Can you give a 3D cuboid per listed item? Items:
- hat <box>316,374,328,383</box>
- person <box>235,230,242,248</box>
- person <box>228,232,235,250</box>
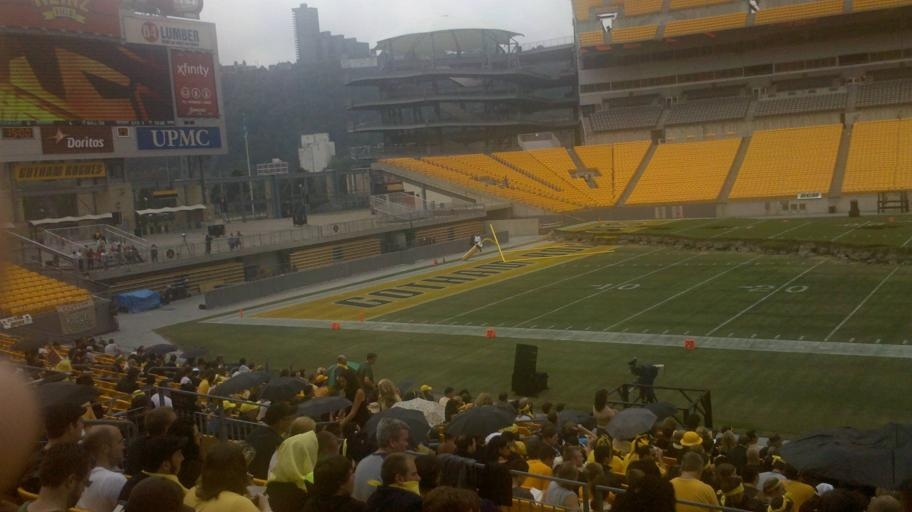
[{"bbox_3d":[-5.298,4.805,29.250,0.307,0.135,0.449,5,11,32],"label":"hat"},{"bbox_3d":[-16.386,-1.231,55.863,0.440,0.977,1.331,-10,13,-8],"label":"person"},{"bbox_3d":[-16.797,-1.057,55.484,0.411,0.881,1.295,-11,13,-13],"label":"person"}]
